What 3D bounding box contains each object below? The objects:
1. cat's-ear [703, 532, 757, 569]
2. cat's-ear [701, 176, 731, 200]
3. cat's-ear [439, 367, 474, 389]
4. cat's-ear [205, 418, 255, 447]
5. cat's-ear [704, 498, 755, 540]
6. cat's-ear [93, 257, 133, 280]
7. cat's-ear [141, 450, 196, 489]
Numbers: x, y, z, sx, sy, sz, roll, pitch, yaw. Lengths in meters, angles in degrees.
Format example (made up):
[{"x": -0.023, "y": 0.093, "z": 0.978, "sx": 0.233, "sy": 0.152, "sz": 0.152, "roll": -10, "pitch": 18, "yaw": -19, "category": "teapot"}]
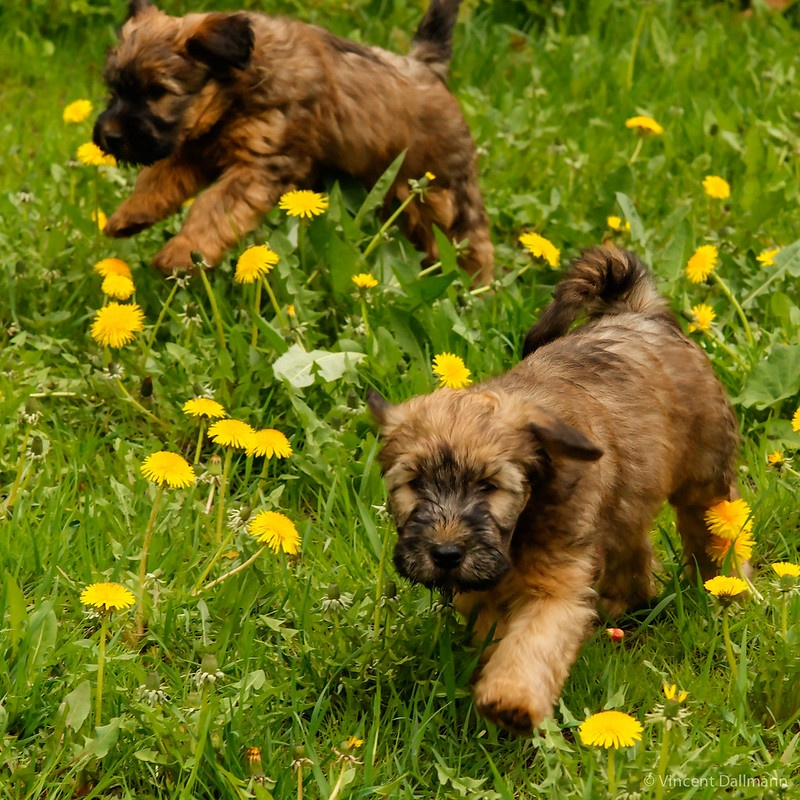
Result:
[{"x": 0.934, "y": 0.405, "z": 2.870, "sx": 0.106, "sy": 0.046, "sz": 0.104, "roll": -25, "pitch": 37, "yaw": -11, "category": "cat's-ear"}, {"x": 1.312, "y": -0.882, "z": 4.319, "sx": 0.119, "sy": 0.033, "sz": 0.139, "roll": -7, "pitch": 56, "yaw": -16, "category": "cat's-ear"}, {"x": 0.158, "y": -0.059, "z": 3.146, "sx": 0.073, "sy": 0.017, "sz": 0.085, "roll": 5, "pitch": 68, "yaw": -18, "category": "cat's-ear"}, {"x": -0.449, "y": 0.111, "z": 2.704, "sx": 0.089, "sy": 0.029, "sz": 0.088, "roll": -19, "pitch": 48, "yaw": -36, "category": "cat's-ear"}, {"x": 0.883, "y": 0.337, "z": 2.800, "sx": 0.112, "sy": 0.050, "sz": 0.126, "roll": -21, "pitch": 62, "yaw": 3, "category": "cat's-ear"}, {"x": -0.996, "y": -0.459, "z": 3.575, "sx": 0.105, "sy": 0.039, "sz": 0.116, "roll": 9, "pitch": 20, "yaw": -8, "category": "cat's-ear"}, {"x": -0.543, "y": 0.193, "z": 2.460, "sx": 0.111, "sy": 0.043, "sz": 0.116, "roll": 46, "pitch": 31, "yaw": 19, "category": "cat's-ear"}]
